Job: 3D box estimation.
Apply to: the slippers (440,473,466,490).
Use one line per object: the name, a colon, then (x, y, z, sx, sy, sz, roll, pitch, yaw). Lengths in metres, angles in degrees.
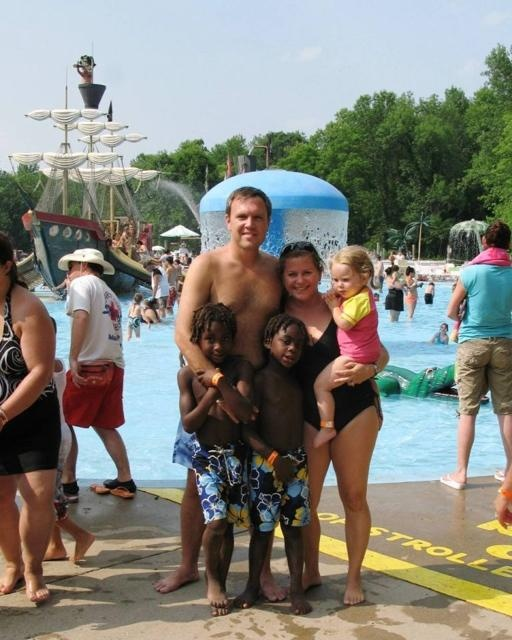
slippers: (1.503, 1.235, 5.505, 0.079, 0.056, 0.181, -1, 7, -20)

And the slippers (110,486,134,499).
slippers: (-0.948, 1.226, 5.160, 0.151, 0.037, 0.079, 8, 8, 40)

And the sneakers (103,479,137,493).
sneakers: (-0.996, 1.190, 5.238, 0.265, 0.083, 0.091, 7, -22, 18)

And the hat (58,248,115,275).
hat: (-1.207, -0.450, 5.517, 0.375, 0.100, 0.395, 5, -8, 31)

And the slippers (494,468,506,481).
slippers: (1.924, 1.213, 5.672, 0.078, 0.040, 0.129, 0, 5, 3)
